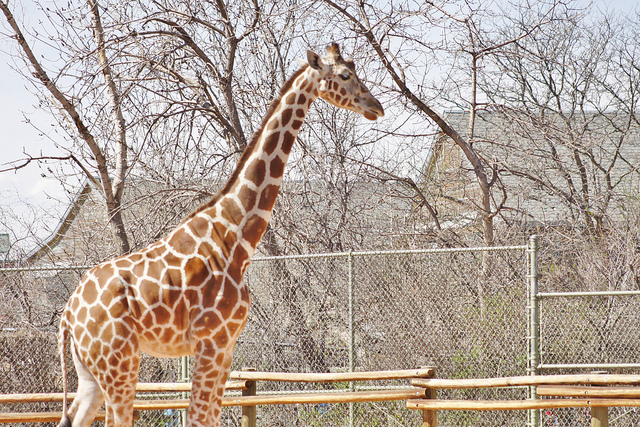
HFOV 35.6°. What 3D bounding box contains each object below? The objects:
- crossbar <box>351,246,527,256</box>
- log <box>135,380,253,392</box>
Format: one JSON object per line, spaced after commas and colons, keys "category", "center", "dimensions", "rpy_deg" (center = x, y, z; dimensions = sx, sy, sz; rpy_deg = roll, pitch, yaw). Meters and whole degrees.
{"category": "crossbar", "center": [2.046, 0.607, 16.457], "dimensions": [2.971, 0.130, 0.089], "rpy_deg": [-1, -46, 8]}
{"category": "log", "center": [-1.757, 2.465, 14.182], "dimensions": [1.779, 0.161, 0.846], "rpy_deg": [6, -10, -5]}
